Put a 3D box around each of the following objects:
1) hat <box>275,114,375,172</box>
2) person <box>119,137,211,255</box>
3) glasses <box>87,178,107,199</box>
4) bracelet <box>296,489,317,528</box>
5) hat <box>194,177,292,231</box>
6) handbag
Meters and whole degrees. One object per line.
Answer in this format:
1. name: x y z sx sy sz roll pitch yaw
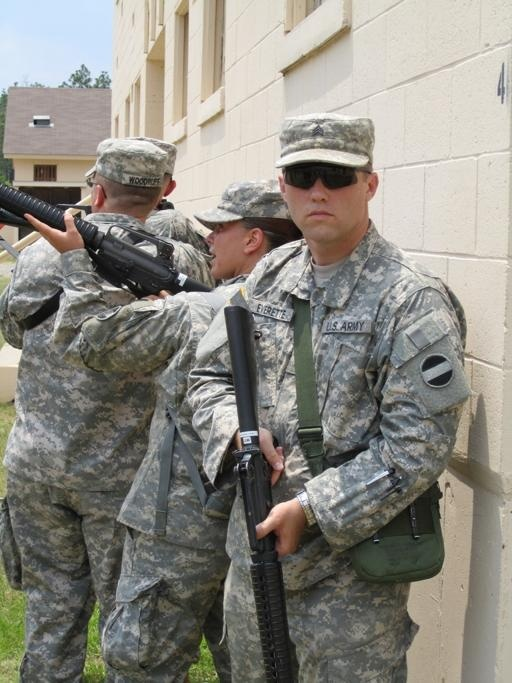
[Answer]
1. hat: 0.184 -0.542 1.755 0.269 0.110 0.329 3 26 15
2. person: -0.495 -0.748 3.950 0.373 1.058 0.456 -8 3 8
3. glasses: -0.674 -0.681 2.942 0.115 0.106 0.035 12 10 39
4. bracelet: 0.119 0.401 1.583 0.046 0.083 0.053 1 5 -3
5. hat: -0.016 -0.540 2.553 0.452 0.131 0.292 -7 13 5
6. handbag: 0.352 0.459 1.670 0.236 0.267 0.149 -12 -25 8
